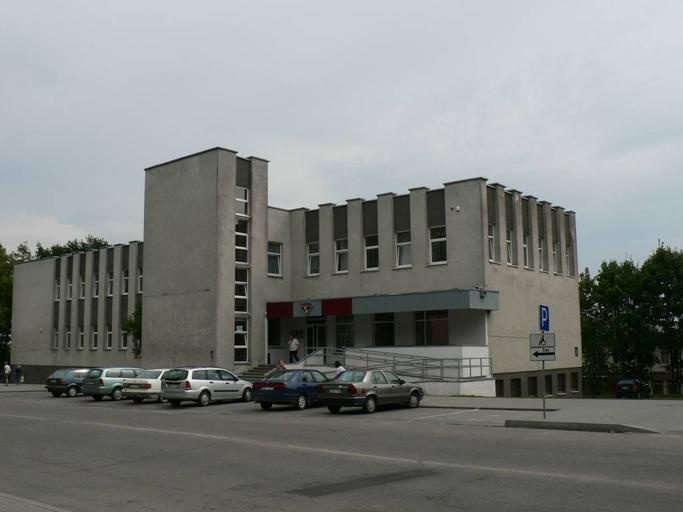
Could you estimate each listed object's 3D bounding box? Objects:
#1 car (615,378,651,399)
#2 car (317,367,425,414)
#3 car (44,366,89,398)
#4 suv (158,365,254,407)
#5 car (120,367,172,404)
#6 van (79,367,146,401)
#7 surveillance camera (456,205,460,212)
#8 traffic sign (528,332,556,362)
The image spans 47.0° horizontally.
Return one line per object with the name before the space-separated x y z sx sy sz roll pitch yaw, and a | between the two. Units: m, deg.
car | 20.206 9.182 54.705 1.390 1.241 3.115 -6 -8 39
car | 1.186 5.258 30.715 1.648 1.264 3.445 -8 -9 43
car | -14.384 6.704 41.745 1.318 1.098 2.200 -5 -5 44
suv | -5.819 5.812 34.736 4.053 1.692 1.602 11 -17 -42
car | -8.919 5.996 36.038 1.401 0.886 2.503 -3 -6 37
van | -11.105 6.297 38.809 1.377 1.137 2.861 -5 -5 44
surveillance camera | 6.251 -2.582 42.479 0.239 0.280 0.487 0 -3 8
traffic sign | 6.865 3.104 27.132 0.758 1.030 1.150 -1 -13 0
